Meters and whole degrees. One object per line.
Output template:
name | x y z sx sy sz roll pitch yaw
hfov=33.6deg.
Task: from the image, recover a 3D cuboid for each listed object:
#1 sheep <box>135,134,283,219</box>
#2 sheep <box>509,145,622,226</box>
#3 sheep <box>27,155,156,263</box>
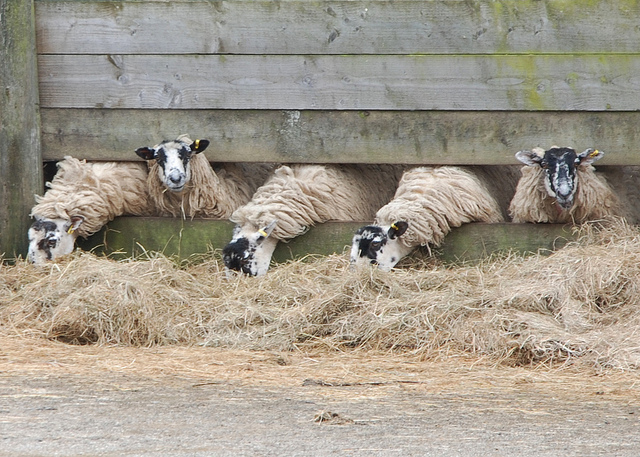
sheep | -1.126 -0.316 8.991 0.891 0.602 1.546 -6 0 0
sheep | 1.930 -0.257 8.545 0.984 0.586 1.080 -2 5 4
sheep | -1.880 -0.210 8.484 1.323 0.646 0.617 -23 52 -35
